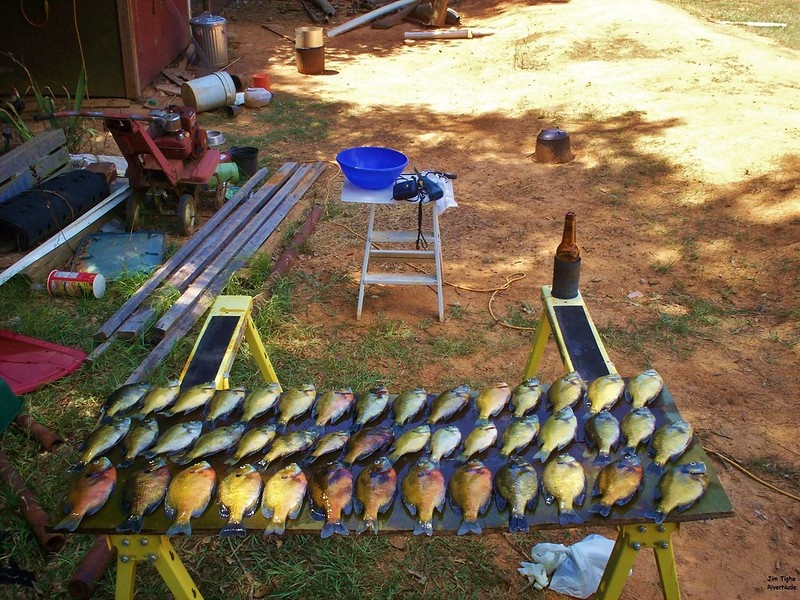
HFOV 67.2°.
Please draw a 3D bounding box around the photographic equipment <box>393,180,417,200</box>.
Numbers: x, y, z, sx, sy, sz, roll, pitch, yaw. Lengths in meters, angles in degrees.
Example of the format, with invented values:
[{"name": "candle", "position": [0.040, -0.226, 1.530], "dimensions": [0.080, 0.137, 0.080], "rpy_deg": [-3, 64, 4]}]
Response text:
[{"name": "photographic equipment", "position": [0.060, -1.067, 5.888], "dimensions": [0.251, 0.176, 0.230], "rpy_deg": [1, 37, -1]}]
